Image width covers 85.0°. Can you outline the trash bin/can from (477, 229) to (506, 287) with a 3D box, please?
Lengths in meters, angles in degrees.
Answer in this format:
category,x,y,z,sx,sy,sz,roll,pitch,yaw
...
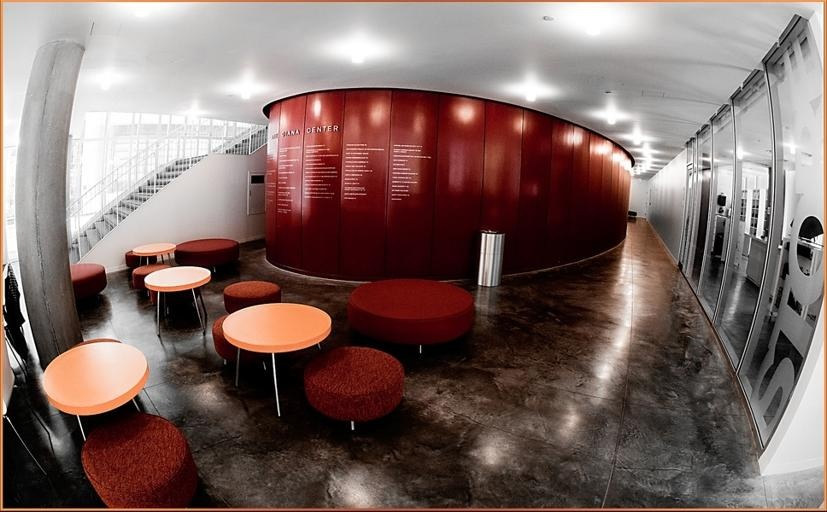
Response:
category,x,y,z,sx,sy,sz,roll,pitch,yaw
trash bin/can,1.729,0.056,10.117,0.533,1.139,0.786,3,19,6

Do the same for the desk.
category,x,y,z,sx,sy,sz,roll,pitch,yaw
desk,-3.700,1.424,5.250,1.260,0.424,1.144,6,33,-20
